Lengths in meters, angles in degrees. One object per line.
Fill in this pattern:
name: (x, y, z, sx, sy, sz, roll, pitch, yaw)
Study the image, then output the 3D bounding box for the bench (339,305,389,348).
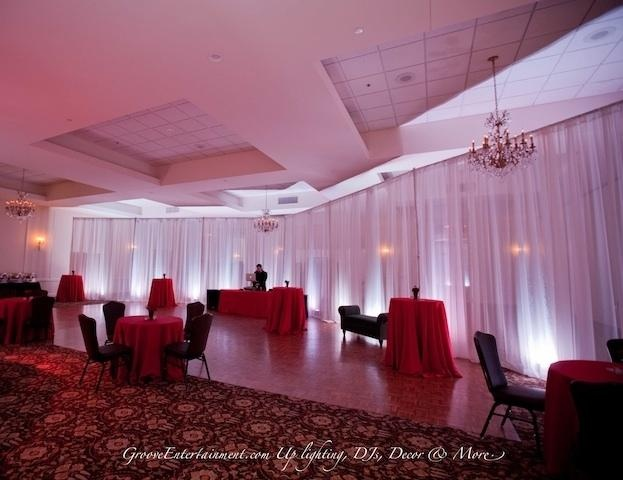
bench: (1.024, 1.745, 8.002, 0.560, 0.866, 1.393, -1, 8, -15)

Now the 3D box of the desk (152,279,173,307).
desk: (-5.127, 1.668, 13.314, 0.789, 1.027, 0.813, 0, 20, -22)

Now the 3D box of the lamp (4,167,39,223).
lamp: (-8.324, -1.261, 11.054, 0.703, 1.426, 2.788, -4, 10, -35)

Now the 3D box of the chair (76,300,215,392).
chair: (-2.409, 1.573, 5.698, 1.318, 0.703, 1.335, 1, -13, -5)

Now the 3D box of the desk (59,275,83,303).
desk: (-8.486, 1.749, 13.696, 0.846, 1.041, 0.643, -5, 10, -38)

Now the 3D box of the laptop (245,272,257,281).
laptop: (-1.840, 1.171, 11.796, 0.217, 0.300, 0.407, -4, -5, 7)

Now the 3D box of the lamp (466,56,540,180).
lamp: (3.019, -1.861, 6.150, 0.936, 1.642, 1.555, 5, 9, 27)

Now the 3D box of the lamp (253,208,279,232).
lamp: (-1.533, -0.573, 12.870, 0.737, 1.112, 0.747, 3, -7, 7)
